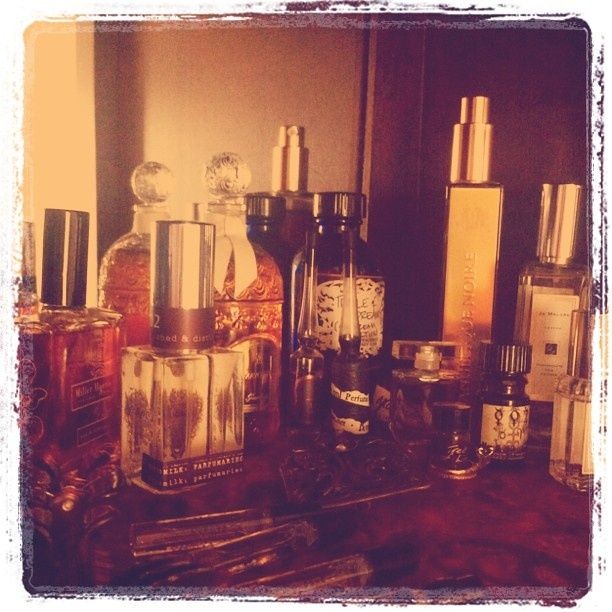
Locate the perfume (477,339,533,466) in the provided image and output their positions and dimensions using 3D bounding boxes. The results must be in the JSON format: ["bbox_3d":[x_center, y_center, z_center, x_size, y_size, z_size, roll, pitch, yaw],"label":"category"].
[{"bbox_3d":[0.209,0.095,0.684,0.042,0.117,0.118,6,6,40],"label":"perfume"}]

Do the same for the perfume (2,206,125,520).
[{"bbox_3d":[-0.233,0.037,0.665,0.063,0.271,0.112,16,25,25],"label":"perfume"}]

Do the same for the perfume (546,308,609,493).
[{"bbox_3d":[0.255,0.086,0.633,0.037,0.159,0.074,4,5,21],"label":"perfume"}]

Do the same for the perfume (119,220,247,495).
[{"bbox_3d":[-0.108,0.044,0.599,0.109,0.235,0.060,1,5,-16],"label":"perfume"}]
